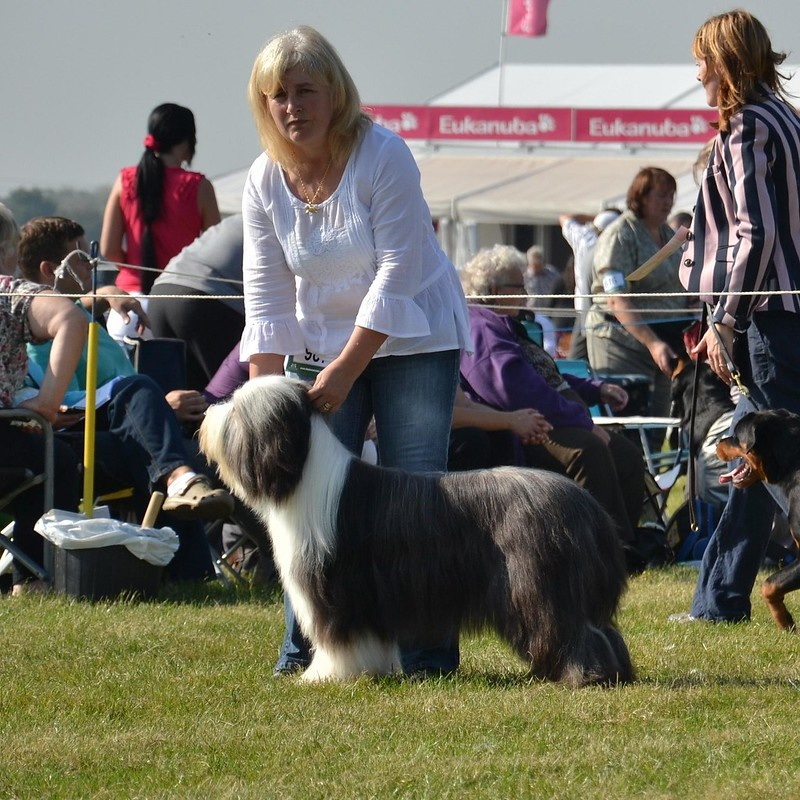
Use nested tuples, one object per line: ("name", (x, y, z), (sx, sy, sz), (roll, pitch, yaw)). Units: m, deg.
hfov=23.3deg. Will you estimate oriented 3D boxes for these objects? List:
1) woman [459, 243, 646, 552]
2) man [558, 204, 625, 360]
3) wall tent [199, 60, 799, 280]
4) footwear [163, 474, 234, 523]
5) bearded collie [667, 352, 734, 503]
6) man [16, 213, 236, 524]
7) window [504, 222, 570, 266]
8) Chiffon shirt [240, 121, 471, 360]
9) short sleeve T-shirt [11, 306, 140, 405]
("woman", (0.648, 0.113, 8.315), (0.774, 1.736, 0.583), (-10, -13, 18))
("man", (1.340, -0.977, 12.812), (0.388, 0.268, 0.830), (11, -27, 12))
("wall tent", (0.967, -2.125, 16.582), (2.854, 1.450, 3.176), (1, 3, 24))
("footwear", (-0.790, 0.387, 7.574), (0.269, 0.161, 0.143), (-4, 4, 43))
("bearded collie", (1.405, 0.125, 8.753), (0.175, 0.886, 0.419), (3, -8, -10))
("man", (-1.156, -0.142, 8.022), (0.824, 1.201, 0.447), (5, 20, 35))
("window", (1.318, -1.583, 19.359), (0.514, 0.168, 0.609), (1, -4, 34))
("Chiffon shirt", (-0.130, -0.433, 6.542), (0.681, 0.931, 0.714), (-2, 1, 17))
("short sleeve T-shirt", (-1.342, -0.163, 7.865), (0.289, 0.315, 0.162), (-18, -10, -40))
